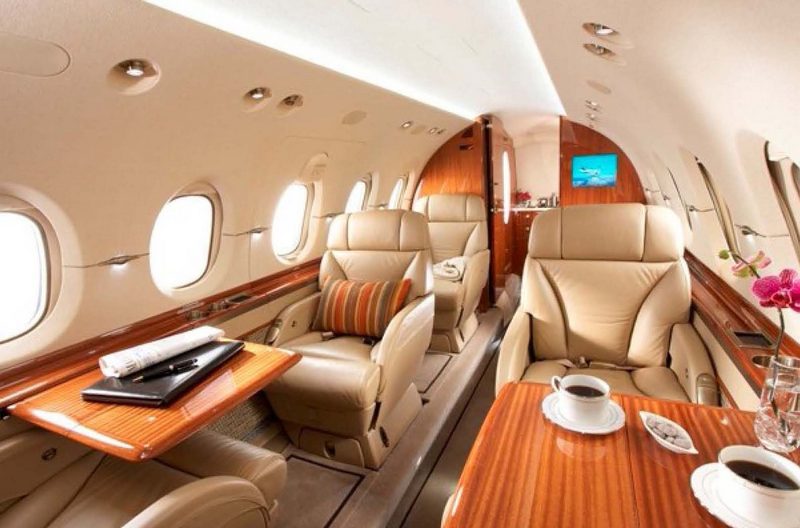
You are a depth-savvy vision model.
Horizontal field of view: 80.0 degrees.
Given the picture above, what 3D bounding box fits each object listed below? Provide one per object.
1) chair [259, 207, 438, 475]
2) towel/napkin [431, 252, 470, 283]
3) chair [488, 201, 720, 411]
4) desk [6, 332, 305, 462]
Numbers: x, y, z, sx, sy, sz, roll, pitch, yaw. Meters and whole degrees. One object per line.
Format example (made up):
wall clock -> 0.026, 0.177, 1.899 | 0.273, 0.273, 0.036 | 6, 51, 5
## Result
chair -> -0.324, 0.425, 3.372 | 1.040, 1.605, 1.254 | 1, 7, 11
towel/napkin -> 0.516, 0.039, 4.808 | 0.292, 0.104, 0.288 | 0, 24, 27
chair -> 1.163, 0.391, 2.782 | 1.132, 1.202, 1.039 | 2, 21, 24
desk -> -1.145, 0.708, 2.389 | 0.885, 0.475, 0.977 | 4, 8, 32
